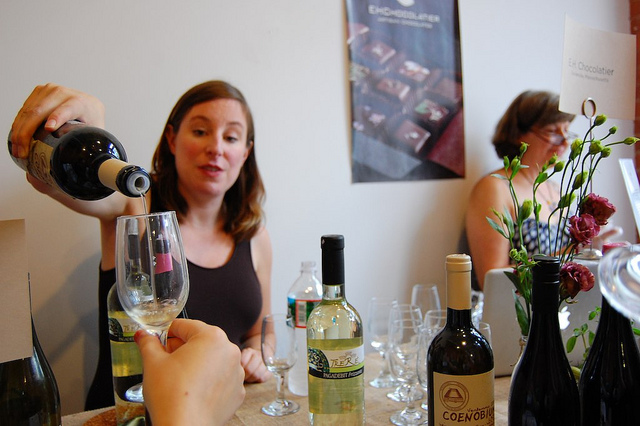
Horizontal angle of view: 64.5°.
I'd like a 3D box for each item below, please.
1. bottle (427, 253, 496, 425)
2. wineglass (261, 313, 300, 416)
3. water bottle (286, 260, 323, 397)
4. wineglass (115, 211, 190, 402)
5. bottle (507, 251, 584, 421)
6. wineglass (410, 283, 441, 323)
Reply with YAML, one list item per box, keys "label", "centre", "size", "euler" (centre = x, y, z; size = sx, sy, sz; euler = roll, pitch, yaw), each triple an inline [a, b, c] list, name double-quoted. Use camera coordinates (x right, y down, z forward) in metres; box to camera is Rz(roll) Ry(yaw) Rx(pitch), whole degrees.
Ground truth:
- label: "bottle"
  centre: [0.277, 0.259, 1.023]
  size: [0.130, 0.342, 0.065]
  euler: [-3, -4, 13]
- label: "wineglass"
  centre: [-0.109, 0.392, 1.322]
  size: [0.097, 0.239, 0.103]
  euler: [-1, -4, -8]
- label: "water bottle"
  centre: [-0.055, 0.341, 1.523]
  size: [0.093, 0.376, 0.099]
  euler: [-2, 5, 0]
- label: "wineglass"
  centre: [-0.360, 0.210, 1.092]
  size: [0.138, 0.428, 0.141]
  euler: [3, 11, 18]
- label: "bottle"
  centre: [0.438, 0.257, 1.014]
  size: [0.138, 0.347, 0.175]
  euler: [-4, -4, 26]
- label: "wineglass"
  centre: [0.353, 0.303, 1.730]
  size: [0.102, 0.151, 0.102]
  euler: [0, -8, -9]
